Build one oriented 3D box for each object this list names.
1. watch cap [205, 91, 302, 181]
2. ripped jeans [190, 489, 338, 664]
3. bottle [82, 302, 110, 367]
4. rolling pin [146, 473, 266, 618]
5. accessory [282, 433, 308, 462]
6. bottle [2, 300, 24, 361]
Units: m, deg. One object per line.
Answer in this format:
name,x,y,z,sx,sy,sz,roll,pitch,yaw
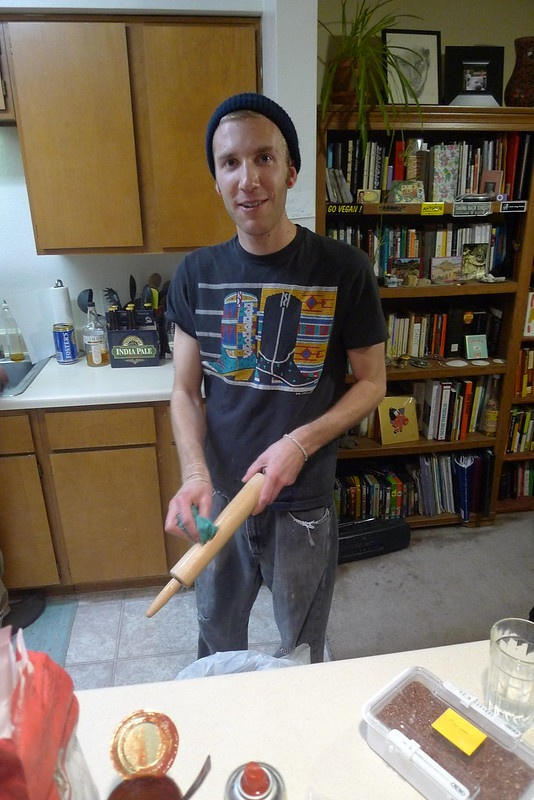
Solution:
watch cap,-0.032,-0.535,1.110,0.196,0.140,0.167,-4,1,-2
ripped jeans,-0.026,0.481,1.403,0.335,0.735,0.228,5,19,5
bottle,-0.736,-0.283,2.378,0.092,0.284,0.176,-4,1,-18
rolling pin,-0.094,0.211,0.871,0.062,0.195,0.300,-3,1,30
accessory,0.057,0.086,1.082,0.015,0.044,0.048,-36,60,-1
bottle,-1.138,-0.306,2.468,0.092,0.288,0.095,-4,1,0
